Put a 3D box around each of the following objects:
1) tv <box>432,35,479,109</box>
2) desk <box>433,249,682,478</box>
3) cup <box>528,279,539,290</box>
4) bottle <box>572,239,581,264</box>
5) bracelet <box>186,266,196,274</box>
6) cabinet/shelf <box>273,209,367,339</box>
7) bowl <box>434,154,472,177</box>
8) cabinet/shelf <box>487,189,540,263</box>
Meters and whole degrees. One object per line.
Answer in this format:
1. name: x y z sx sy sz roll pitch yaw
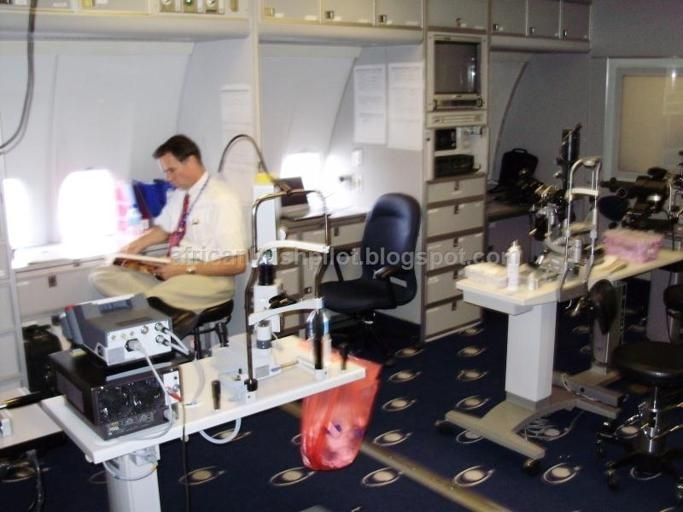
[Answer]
1. tv: 1.012 -1.577 5.033 0.569 0.580 0.127 -10 15 -40
2. desk: 1.390 0.561 4.216 1.887 1.203 0.882 -10 14 -36
3. cup: 1.223 0.169 3.667 0.069 0.076 0.069 -1 11 0
4. bottle: 1.583 -0.043 3.877 0.058 0.166 0.139 6 13 31
5. bracelet: -1.082 0.101 4.150 0.055 0.055 0.019 0 3 4
6. cabinet/shelf: -0.159 0.103 4.265 0.352 0.905 1.000 10 18 41
7. bowl: 0.986 -0.802 5.134 0.275 0.095 0.267 -1 3 0
8. cabinet/shelf: 1.653 -0.296 5.591 0.634 0.601 0.383 -10 22 -27
